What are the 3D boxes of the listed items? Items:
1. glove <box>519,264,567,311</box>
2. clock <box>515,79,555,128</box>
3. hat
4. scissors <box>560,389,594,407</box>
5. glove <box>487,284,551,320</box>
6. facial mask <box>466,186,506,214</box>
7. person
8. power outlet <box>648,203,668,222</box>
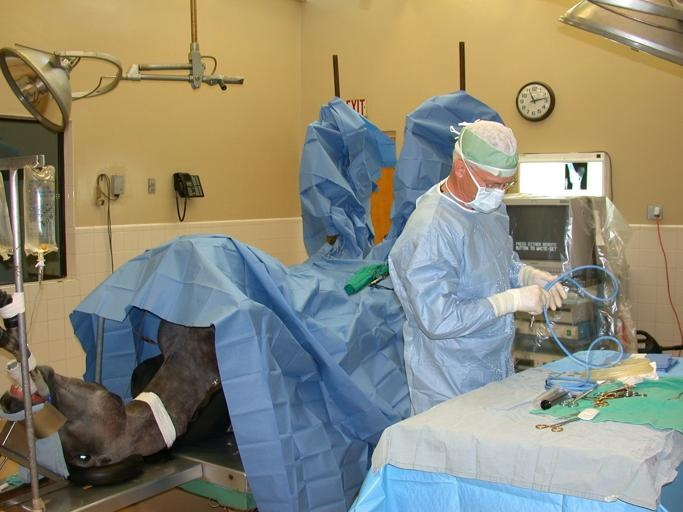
[{"bbox_3d":[0.892,0.146,2.596,0.153,0.300,0.157,1,-40,8],"label":"glove"},{"bbox_3d":[1.810,-1.425,5.424,0.398,0.480,0.066,-2,3,44],"label":"clock"},{"bbox_3d":[0.602,-0.433,2.476,0.195,0.258,0.139,-33,-20,-33],"label":"hat"},{"bbox_3d":[0.830,0.497,2.057,0.044,0.019,0.113,1,17,42],"label":"scissors"},{"bbox_3d":[0.721,0.193,2.362,0.194,0.150,0.083,-17,0,-13],"label":"glove"},{"bbox_3d":[0.626,-0.241,2.517,0.142,0.094,0.144,0,-5,-36],"label":"facial mask"},{"bbox_3d":[0.575,0.059,2.560,0.721,1.290,0.581,-3,-3,0],"label":"person"},{"bbox_3d":[2.653,-0.355,4.943,0.123,0.103,0.054,-5,-4,31],"label":"power outlet"}]
